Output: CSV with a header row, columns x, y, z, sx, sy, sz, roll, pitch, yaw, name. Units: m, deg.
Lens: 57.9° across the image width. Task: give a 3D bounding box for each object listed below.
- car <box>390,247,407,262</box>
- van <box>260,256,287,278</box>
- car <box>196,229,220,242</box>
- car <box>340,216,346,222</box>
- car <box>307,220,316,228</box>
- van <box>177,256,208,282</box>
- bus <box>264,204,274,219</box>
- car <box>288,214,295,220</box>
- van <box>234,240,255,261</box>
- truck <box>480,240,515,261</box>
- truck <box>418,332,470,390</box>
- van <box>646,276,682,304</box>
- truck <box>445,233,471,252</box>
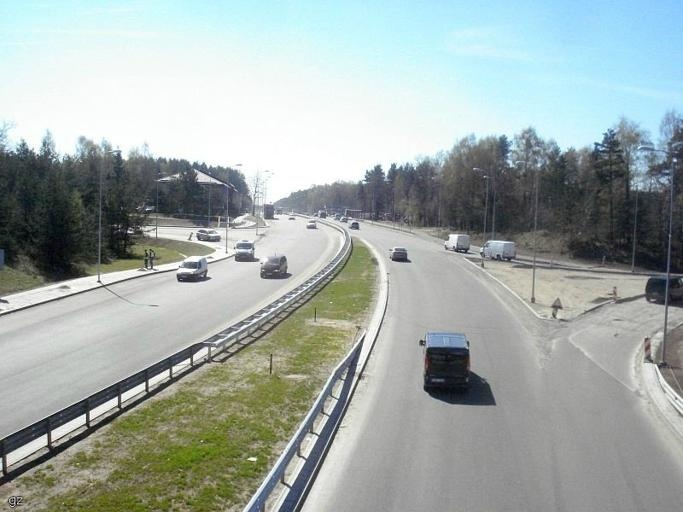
x,y,z,sx,sy,sz,roll,pitch,yaw,name
6.498,-0.045,69.969,1.889,1.346,1.387,7,15,20,car
-6.091,1.066,56.802,1.250,1.390,2.926,-1,-2,9,van
-19.750,-2.937,90.279,1.778,1.596,3.495,-3,4,-37,car
0.432,-8.880,153.729,0.989,1.050,1.850,2,16,6,car
-6.018,-6.131,121.883,1.478,1.426,3.753,-2,5,-4,car
-12.944,1.150,53.953,1.489,1.560,2.747,-1,-2,3,van
-17.502,-10.624,148.382,2.580,3.365,5.447,2,3,7,bus
-12.871,-9.707,158.131,2.203,1.155,3.521,2,7,0,car
-10.804,-0.399,68.200,2.114,1.849,2.185,9,16,26,van
19.103,-0.517,74.804,2.065,2.182,3.858,-1,9,-20,truck
4.954,4.936,29.981,1.626,1.596,2.747,-1,13,3,truck
25.647,2.638,49.599,1.782,0.981,2.423,-1,6,9,van
15.546,-1.671,83.555,1.890,2.081,3.568,0,11,-8,truck
